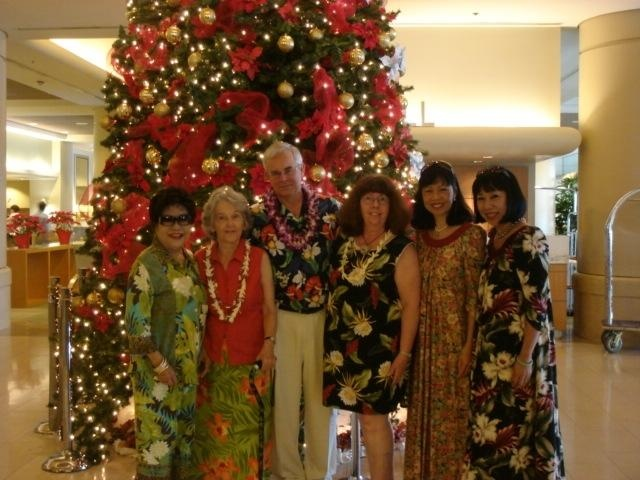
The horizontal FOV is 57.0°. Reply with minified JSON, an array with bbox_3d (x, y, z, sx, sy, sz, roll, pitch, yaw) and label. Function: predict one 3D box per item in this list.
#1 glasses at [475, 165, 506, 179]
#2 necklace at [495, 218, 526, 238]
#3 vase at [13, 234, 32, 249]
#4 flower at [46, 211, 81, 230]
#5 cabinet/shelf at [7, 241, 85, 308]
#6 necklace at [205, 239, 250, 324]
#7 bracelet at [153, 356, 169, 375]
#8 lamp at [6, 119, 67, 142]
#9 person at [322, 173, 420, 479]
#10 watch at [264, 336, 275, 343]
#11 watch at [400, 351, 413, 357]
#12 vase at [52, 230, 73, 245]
[{"bbox_3d":[1.150,-0.458,3.980,0.175,0.076,0.139,-11,3,26],"label":"glasses"},{"bbox_3d":[1.275,-0.083,3.949,0.153,0.114,0.122,-2,-13,-29],"label":"necklace"},{"bbox_3d":[-5.437,0.016,10.894,0.322,0.280,0.314,-3,1,7],"label":"vase"},{"bbox_3d":[-5.222,-0.404,11.974,0.490,0.388,0.602,1,-2,-26],"label":"flower"},{"bbox_3d":[-5.217,0.642,11.034,0.750,1.127,1.515,0,-2,0],"label":"cabinet/shelf"},{"bbox_3d":[-0.611,0.278,3.860,0.306,0.516,0.096,-1,-2,18],"label":"necklace"},{"bbox_3d":[-1.003,0.775,3.701,0.117,0.141,0.060,1,-2,-9],"label":"bracelet"},{"bbox_3d":[-7.419,-2.870,15.320,0.193,0.113,1.454,-31,-7,13],"label":"lamp"},{"bbox_3d":[0.343,0.357,3.952,0.626,1.580,0.203,0,-2,-4],"label":"person"},{"bbox_3d":[-0.328,0.644,3.820,0.057,0.041,0.038,0,-2,-5],"label":"watch"},{"bbox_3d":[0.576,0.752,3.899,0.106,0.043,0.042,2,-3,-42],"label":"watch"},{"bbox_3d":[-5.283,-0.068,12.070,0.399,0.332,0.407,1,1,-17],"label":"vase"}]
